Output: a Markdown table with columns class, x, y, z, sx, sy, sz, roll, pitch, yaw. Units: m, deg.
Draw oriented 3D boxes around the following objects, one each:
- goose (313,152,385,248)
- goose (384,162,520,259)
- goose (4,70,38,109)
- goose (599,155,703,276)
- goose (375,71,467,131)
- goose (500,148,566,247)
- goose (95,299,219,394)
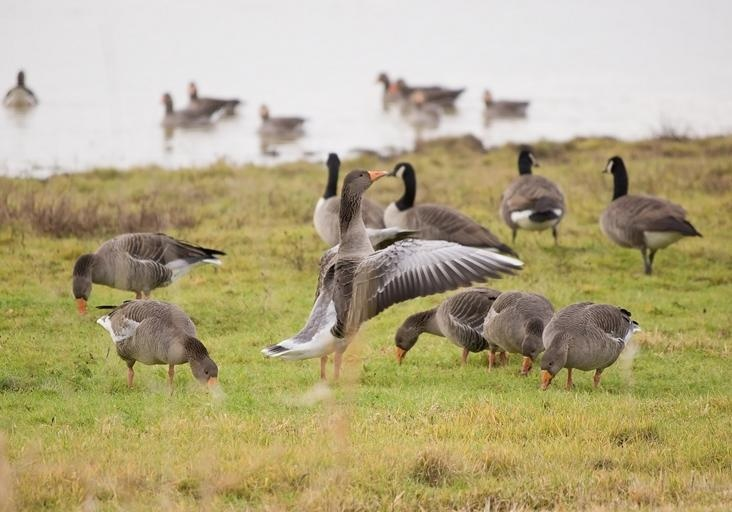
| class | x | y | z | sx | sy | sz | roll | pitch | yaw |
| --- | --- | --- | --- | --- | --- | --- | --- | --- | --- |
| goose | -0.709 | -1.078 | 23.058 | 1.202 | 1.846 | 2.292 | -3 | 9 | -15 |
| goose | 1.738 | -0.848 | 22.279 | 2.894 | 1.973 | 1.010 | 3 | 2 | -9 |
| goose | -7.685 | -3.723 | 24.093 | 0.505 | 0.874 | 0.715 | 0 | 5 | 20 |
| goose | 5.732 | -0.725 | 21.868 | 1.781 | 2.671 | 1.997 | 3 | 6 | 16 |
| goose | 1.504 | -4.214 | 29.749 | 2.043 | 1.175 | 1.400 | -1 | 4 | -1 |
| goose | 3.546 | -1.148 | 22.866 | 1.283 | 1.963 | 2.822 | -1 | 11 | -3 |
| goose | -3.186 | 1.378 | 16.761 | 1.914 | 1.339 | 0.601 | 1 | 5 | 26 |
